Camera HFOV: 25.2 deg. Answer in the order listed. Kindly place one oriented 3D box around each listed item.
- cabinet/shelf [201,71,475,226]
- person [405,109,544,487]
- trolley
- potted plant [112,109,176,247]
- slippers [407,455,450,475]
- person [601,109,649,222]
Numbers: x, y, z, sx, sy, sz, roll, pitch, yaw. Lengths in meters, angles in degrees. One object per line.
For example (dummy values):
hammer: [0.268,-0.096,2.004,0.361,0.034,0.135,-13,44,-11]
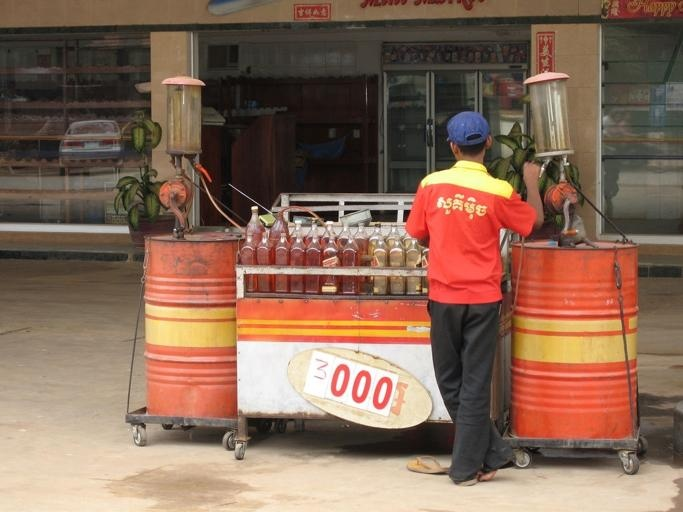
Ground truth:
cabinet/shelf: [-0.229,-1.605,21.433,2.795,2.392,0.867,-1,2,-12]
person: [1.106,0.361,12.916,1.086,3.140,0.344,-1,3,2]
trolley: [0.811,0.509,14.002,2.982,2.510,2.292,5,6,44]
potted plant: [-2.881,-1.111,22.227,0.769,1.937,1.205,-2,3,-18]
slippers: [0.719,1.812,13.148,0.309,0.075,0.155,9,12,37]
person: [3.976,-1.329,21.429,0.662,1.525,0.387,-1,3,0]
